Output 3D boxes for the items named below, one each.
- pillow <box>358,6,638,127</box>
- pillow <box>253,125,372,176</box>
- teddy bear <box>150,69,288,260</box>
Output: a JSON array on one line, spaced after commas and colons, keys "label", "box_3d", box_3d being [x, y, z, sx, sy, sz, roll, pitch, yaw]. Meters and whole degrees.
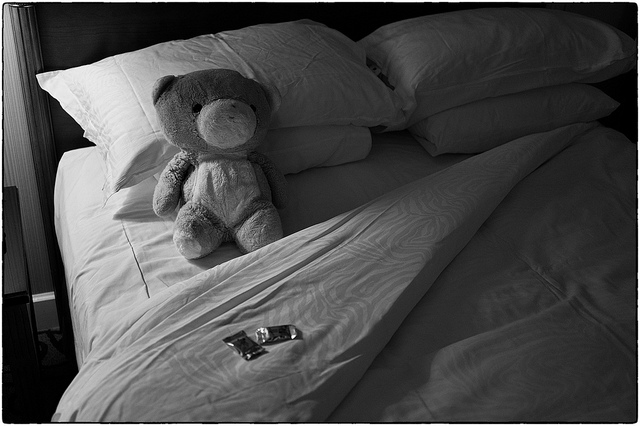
[{"label": "pillow", "box_3d": [0.702, -0.665, 1.812, 0.981, 0.425, 0.233, -22, 4, -3]}, {"label": "pillow", "box_3d": [-0.021, -0.234, 1.585, 0.349, 0.191, 0.092, -7, -46, -19]}, {"label": "teddy bear", "box_3d": [-0.274, -0.110, 1.401, 0.397, 0.578, 0.404, -5, 39, -16]}]
